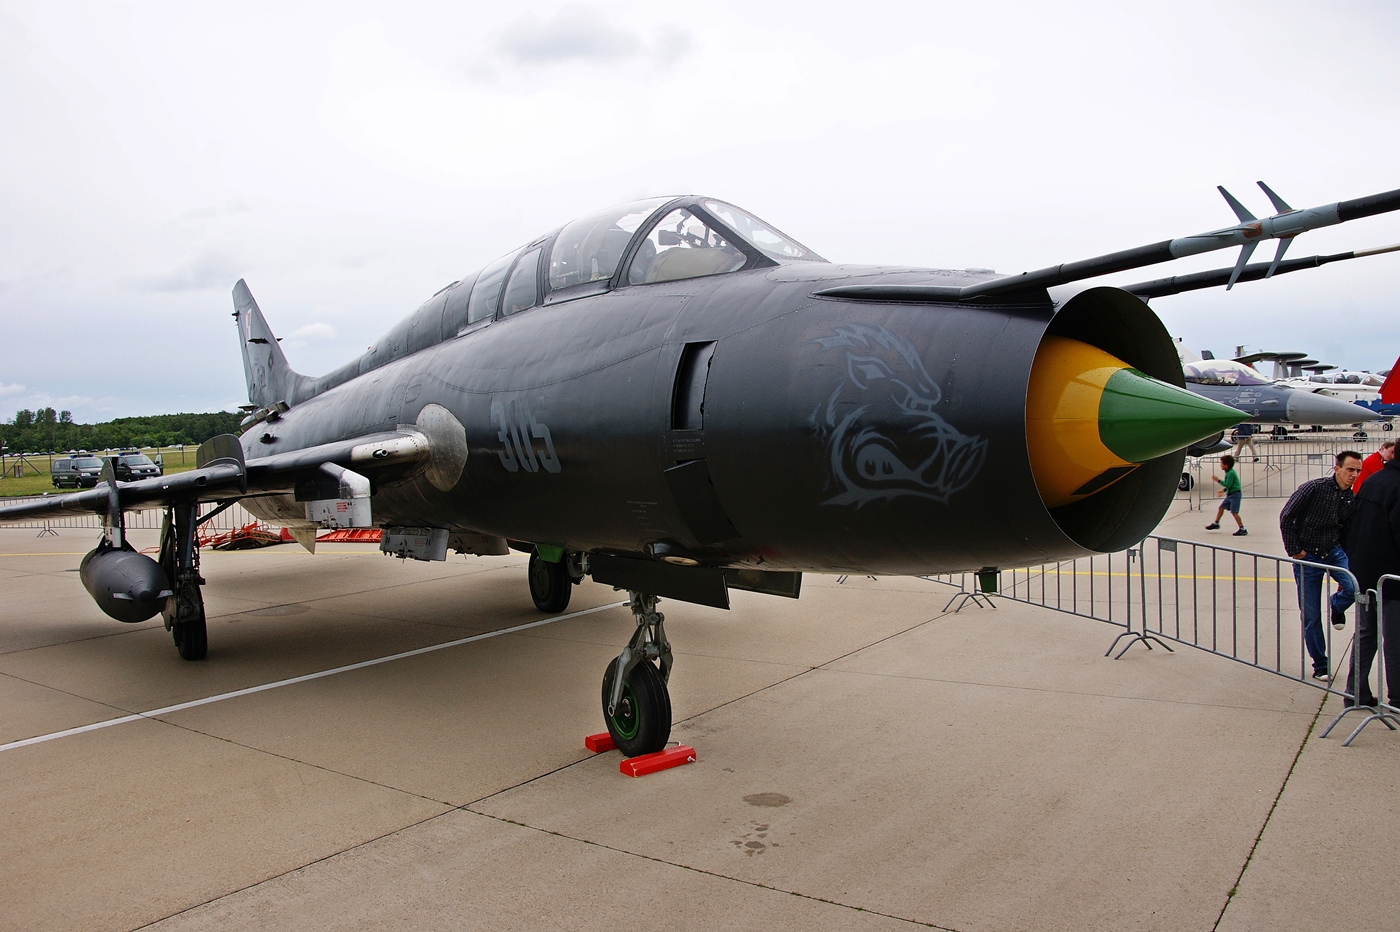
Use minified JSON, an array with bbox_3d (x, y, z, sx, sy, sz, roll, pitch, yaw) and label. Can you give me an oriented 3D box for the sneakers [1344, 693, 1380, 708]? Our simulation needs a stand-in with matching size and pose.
[{"bbox_3d":[6.001,2.139,8.201,0.192,0.062,0.249,1,-5,-16],"label":"sneakers"}]
